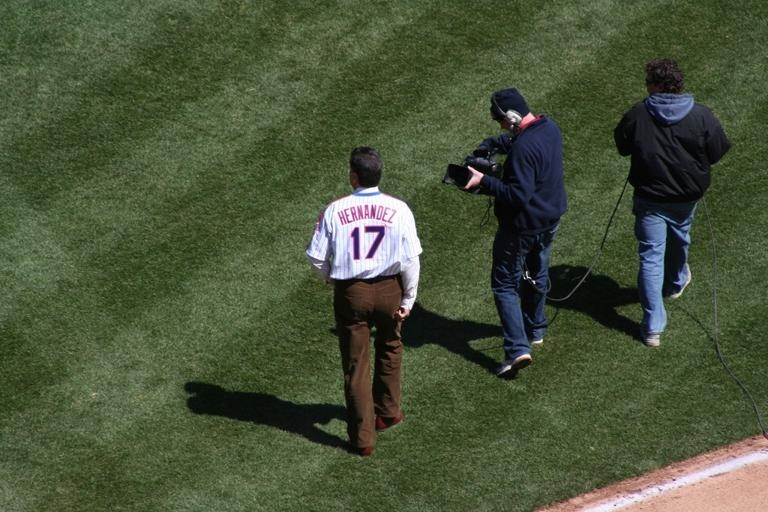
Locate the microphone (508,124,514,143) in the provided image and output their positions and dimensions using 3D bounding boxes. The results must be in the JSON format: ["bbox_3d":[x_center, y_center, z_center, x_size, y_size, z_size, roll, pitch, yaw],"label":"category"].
[{"bbox_3d":[1.251,-1.217,11.011,0.091,0.095,0.128,6,82,1],"label":"microphone"}]

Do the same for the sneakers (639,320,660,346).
[{"bbox_3d":[2.730,0.793,11.378,0.127,0.142,0.322,-2,25,-2],"label":"sneakers"}]

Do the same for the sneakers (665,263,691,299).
[{"bbox_3d":[3.170,0.296,11.743,0.160,0.220,0.455,1,68,49],"label":"sneakers"}]

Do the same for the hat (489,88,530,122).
[{"bbox_3d":[1.208,-1.502,10.843,0.401,0.272,0.266,-6,7,4],"label":"hat"}]

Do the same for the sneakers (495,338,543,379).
[{"bbox_3d":[1.326,1.068,11.208,0.251,0.642,0.284,2,58,-30],"label":"sneakers"}]

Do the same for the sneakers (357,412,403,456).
[{"bbox_3d":[-0.020,1.688,10.771,0.215,0.248,0.624,12,36,30],"label":"sneakers"}]
